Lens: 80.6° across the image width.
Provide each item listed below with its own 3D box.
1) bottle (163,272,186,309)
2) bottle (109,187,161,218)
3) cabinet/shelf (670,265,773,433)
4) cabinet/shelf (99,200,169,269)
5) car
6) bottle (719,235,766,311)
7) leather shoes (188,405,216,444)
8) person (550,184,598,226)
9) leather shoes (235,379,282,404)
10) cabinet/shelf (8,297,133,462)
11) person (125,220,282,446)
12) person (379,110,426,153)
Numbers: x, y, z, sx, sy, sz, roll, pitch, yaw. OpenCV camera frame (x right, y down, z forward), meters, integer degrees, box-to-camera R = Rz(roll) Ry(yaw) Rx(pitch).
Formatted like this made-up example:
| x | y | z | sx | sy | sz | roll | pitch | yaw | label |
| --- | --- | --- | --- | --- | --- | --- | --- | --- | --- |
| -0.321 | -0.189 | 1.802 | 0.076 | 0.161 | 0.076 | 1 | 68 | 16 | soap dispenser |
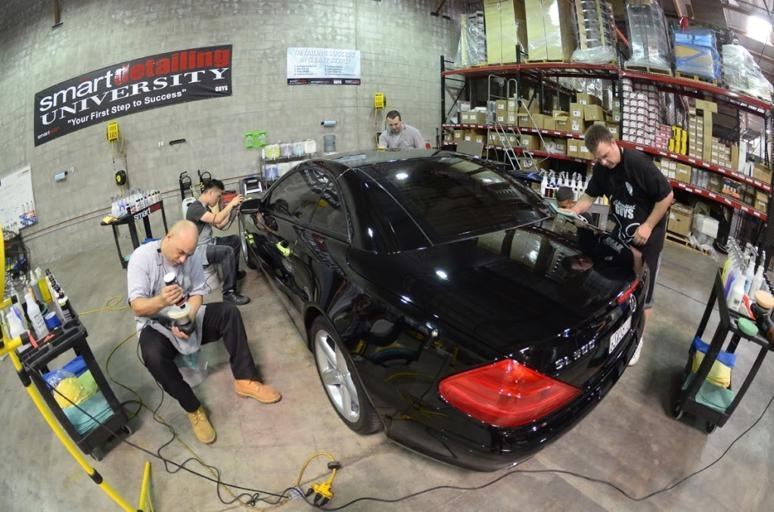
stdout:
| x | y | z | sx | sy | sz | roll | pitch | yaw | label |
| --- | --- | --- | --- | --- | --- | --- | --- | --- | --- |
| -1.704 | 0.280 | 3.642 | 0.109 | 0.313 | 0.109 | 4 | 49 | -4 | bottle |
| -3.482 | -0.724 | 6.310 | 0.281 | 0.260 | 0.673 | 3 | 17 | 17 | bottle |
| 2.858 | 0.852 | 3.885 | 0.382 | 1.001 | 1.057 | 21 | 26 | 10 | cabinet/shelf |
| -3.495 | -0.308 | 6.198 | 0.423 | 0.759 | 0.893 | 7 | 31 | 14 | cabinet/shelf |
| 0.405 | 0.297 | 3.790 | 2.841 | 2.207 | 1.597 | 10 | 21 | 36 | car |
| 2.958 | 0.151 | 3.885 | 0.274 | 0.397 | 1.009 | -1 | 8 | 24 | bottle |
| -1.534 | 1.422 | 3.821 | 0.162 | 0.275 | 0.191 | -14 | 20 | -33 | leather shoes |
| 1.926 | -0.514 | 4.688 | 0.256 | 0.228 | 0.730 | -22 | -42 | 39 | person |
| -1.140 | 1.200 | 4.031 | 0.436 | 0.205 | 0.183 | 7 | 31 | 6 | leather shoes |
| -2.556 | 1.114 | 3.756 | 0.628 | 1.105 | 0.454 | -12 | 19 | -29 | cabinet/shelf |
| -1.658 | 0.759 | 4.166 | 1.376 | 1.531 | 1.012 | 27 | 41 | 25 | person |
| 0.197 | -1.701 | 6.135 | 0.617 | 0.496 | 1.517 | -2 | 17 | -1 | person |
